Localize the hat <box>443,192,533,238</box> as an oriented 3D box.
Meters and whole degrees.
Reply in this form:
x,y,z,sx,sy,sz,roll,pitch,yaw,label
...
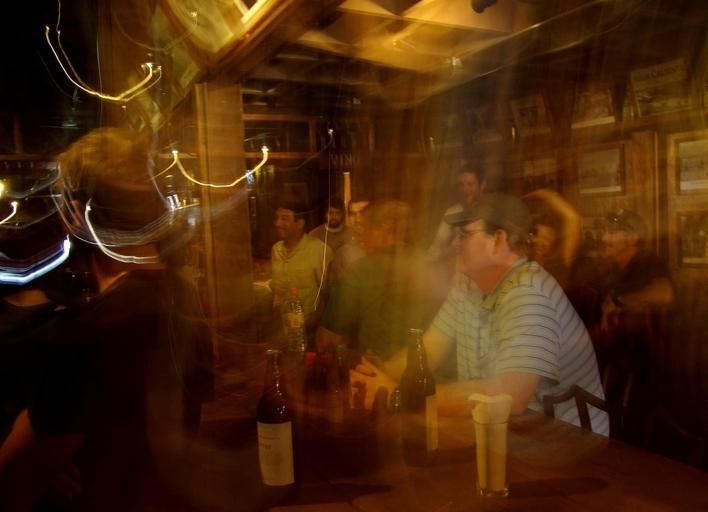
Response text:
x,y,z,sx,sy,sz,roll,pitch,yaw,label
0.766,-0.201,3.102,0.364,0.186,0.256,19,-2,12,hat

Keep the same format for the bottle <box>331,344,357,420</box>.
x,y,z,sx,sy,sz,roll,pitch,yaw,label
-0.048,0.609,2.750,0.118,0.322,0.223,3,9,-2,bottle
